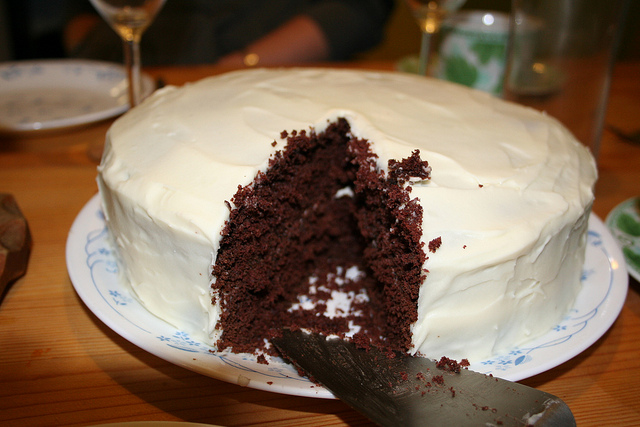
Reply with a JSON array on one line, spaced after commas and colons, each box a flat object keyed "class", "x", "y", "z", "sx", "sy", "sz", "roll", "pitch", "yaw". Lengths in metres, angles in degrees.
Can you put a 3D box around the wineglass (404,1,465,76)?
[{"class": "wineglass", "x": 0.677, "y": -1.149, "z": 3.891, "sx": 0.346, "sy": 0.522, "sz": 0.236, "roll": 13, "pitch": 52, "yaw": 7}]
